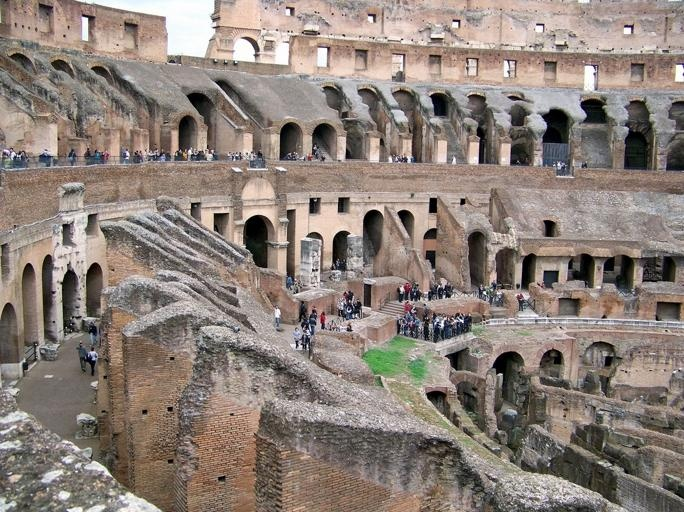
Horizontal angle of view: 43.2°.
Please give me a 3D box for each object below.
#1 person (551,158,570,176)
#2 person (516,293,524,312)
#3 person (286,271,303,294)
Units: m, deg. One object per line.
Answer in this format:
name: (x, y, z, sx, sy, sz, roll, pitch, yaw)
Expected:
person: (11.361, -4.439, 43.421, 0.818, 0.386, 1.166, 2, 14, 9)
person: (7.469, 1.894, 35.111, 0.268, 0.661, 0.995, 1, 2, 18)
person: (-1.895, 0.985, 35.485, 0.576, 1.051, 1.076, -7, -4, 22)
